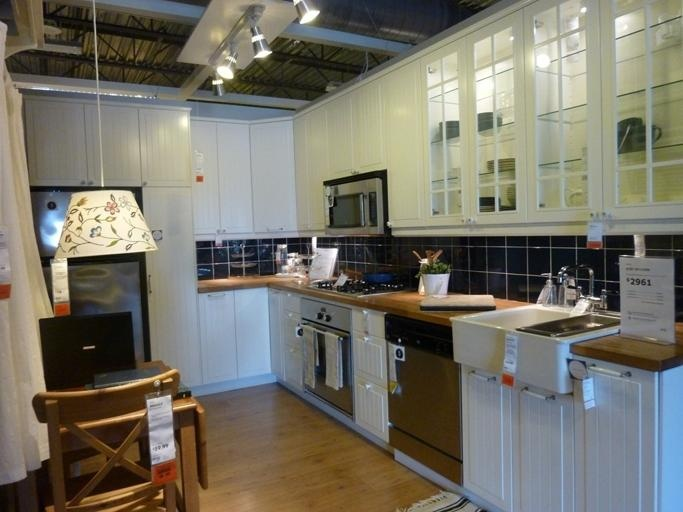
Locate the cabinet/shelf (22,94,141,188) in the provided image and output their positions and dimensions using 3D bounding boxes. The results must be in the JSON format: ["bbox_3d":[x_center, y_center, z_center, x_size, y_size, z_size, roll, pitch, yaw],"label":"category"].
[{"bbox_3d":[-2.182,-0.949,4.260,1.059,0.901,0.409,0,3,-39],"label":"cabinet/shelf"}]

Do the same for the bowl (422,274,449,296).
[{"bbox_3d":[0.677,0.214,3.701,0.190,0.158,0.262,-2,8,10],"label":"bowl"}]

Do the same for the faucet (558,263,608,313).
[{"bbox_3d":[1.383,0.186,3.029,0.292,0.314,0.208,2,0,-4],"label":"faucet"}]

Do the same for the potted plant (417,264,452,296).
[{"bbox_3d":[0.683,0.181,3.785,0.229,0.178,0.217,1,-3,5],"label":"potted plant"}]

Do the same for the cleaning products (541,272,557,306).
[{"bbox_3d":[1.267,0.207,3.122,0.075,0.177,0.044,0,8,23],"label":"cleaning products"}]

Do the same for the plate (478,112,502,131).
[{"bbox_3d":[0.964,-0.862,3.316,0.112,0.081,0.113,2,6,43],"label":"plate"}]

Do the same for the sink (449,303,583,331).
[{"bbox_3d":[1.039,0.368,3.097,0.299,0.083,0.299,-5,4,-36],"label":"sink"}]

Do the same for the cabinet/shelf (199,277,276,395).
[{"bbox_3d":[-1.196,0.780,5.450,1.001,1.411,0.825,-1,-2,-29],"label":"cabinet/shelf"}]

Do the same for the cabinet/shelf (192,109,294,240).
[{"bbox_3d":[-1.037,-0.821,5.388,1.340,1.540,0.576,-1,-1,-21],"label":"cabinet/shelf"}]

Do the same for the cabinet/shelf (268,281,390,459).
[{"bbox_3d":[-0.073,0.930,4.097,0.374,0.702,1.176,-1,3,-36],"label":"cabinet/shelf"}]

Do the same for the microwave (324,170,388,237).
[{"bbox_3d":[0.123,-0.441,4.395,0.442,0.537,0.867,-1,1,-33],"label":"microwave"}]

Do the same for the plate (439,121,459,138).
[{"bbox_3d":[0.746,-0.870,3.551,0.105,0.079,0.106,3,7,42],"label":"plate"}]

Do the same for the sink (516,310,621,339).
[{"bbox_3d":[1.216,0.375,2.738,0.398,0.093,0.208,-4,6,-38],"label":"sink"}]
